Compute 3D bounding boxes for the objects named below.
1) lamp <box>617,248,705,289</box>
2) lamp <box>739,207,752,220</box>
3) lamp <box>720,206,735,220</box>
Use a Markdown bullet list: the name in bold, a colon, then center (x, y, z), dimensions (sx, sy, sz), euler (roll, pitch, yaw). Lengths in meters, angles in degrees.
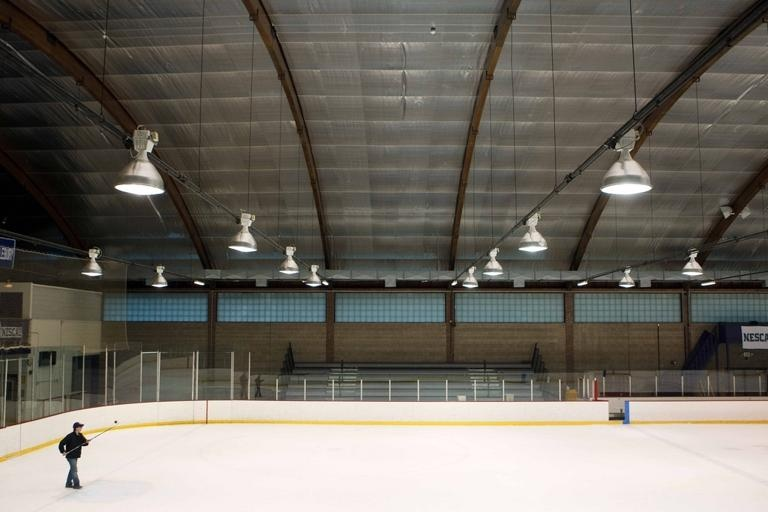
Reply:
- **lamp**: center (14.185, 0.711, 38.552), dimensions (4.401, 0.997, 1.174), euler (-18, -17, 35)
- **lamp**: center (20.326, -2.416, 42.424), dimensions (0.609, 0.692, 0.752), euler (5, 12, 22)
- **lamp**: center (19.253, -2.470, 42.369), dimensions (0.773, 0.727, 0.826), euler (4, 11, 20)
